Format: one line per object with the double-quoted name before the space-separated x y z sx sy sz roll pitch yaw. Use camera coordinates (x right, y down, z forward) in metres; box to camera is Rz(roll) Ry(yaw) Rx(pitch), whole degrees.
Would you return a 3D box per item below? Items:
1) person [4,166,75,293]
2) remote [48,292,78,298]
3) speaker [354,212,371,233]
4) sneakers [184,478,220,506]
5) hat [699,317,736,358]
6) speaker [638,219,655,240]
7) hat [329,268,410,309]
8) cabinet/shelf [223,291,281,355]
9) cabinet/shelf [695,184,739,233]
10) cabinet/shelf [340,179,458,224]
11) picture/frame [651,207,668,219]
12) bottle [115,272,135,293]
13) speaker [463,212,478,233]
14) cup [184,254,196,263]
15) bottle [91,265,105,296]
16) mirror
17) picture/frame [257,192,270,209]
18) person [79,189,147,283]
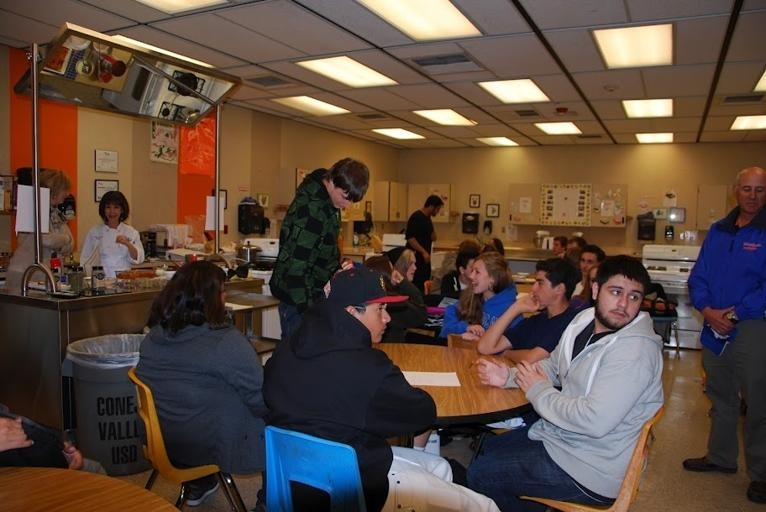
"person" -3.136 -0.256 4.945 0.531 1.072 1.705 -2 5 -28
"remote" -2.390 0.297 4.073 0.219 0.035 0.075 1 5 -3
"speaker" -0.404 -0.604 10.866 0.318 0.557 0.575 0 0 -2
"sneakers" -1.223 1.618 3.795 0.114 0.129 0.306 4 -2 21
"hat" 2.572 0.616 4.201 0.065 0.214 0.226 -1 -4 -24
"speaker" 4.986 -0.494 10.330 0.357 0.433 0.358 3 -2 25
"hat" -0.081 0.145 2.915 0.480 0.194 0.303 3 8 1
"cabinet/shelf" -1.159 0.573 4.858 0.554 0.501 0.547 2 1 -32
"cabinet/shelf" 6.027 -0.646 9.864 0.671 0.673 1.158 1 47 29
"cabinet/shelf" 0.342 -0.958 9.898 0.946 0.470 1.353 -2 -2 25
"picture/frame" 5.265 -0.808 10.335 0.219 0.215 0.021 2 2 22
"bottle" -2.128 0.218 4.495 0.162 0.106 0.159 1 9 0
"speaker" 1.866 -0.688 11.607 0.393 0.400 0.132 5 1 20
"cup" -1.775 0.027 5.017 0.077 0.074 0.101 -1 -5 14
"bottle" -2.291 0.194 4.377 0.095 0.192 0.389 -1 5 -28
"mirror" -1.964 -1.368 4.364 0.905 0.413 1.456 5 6 36
"picture/frame" -1.921 -0.880 8.687 0.031 0.216 0.315 -4 -2 22
"person" -2.750 -0.209 5.532 0.522 0.862 0.350 -2 6 -32
